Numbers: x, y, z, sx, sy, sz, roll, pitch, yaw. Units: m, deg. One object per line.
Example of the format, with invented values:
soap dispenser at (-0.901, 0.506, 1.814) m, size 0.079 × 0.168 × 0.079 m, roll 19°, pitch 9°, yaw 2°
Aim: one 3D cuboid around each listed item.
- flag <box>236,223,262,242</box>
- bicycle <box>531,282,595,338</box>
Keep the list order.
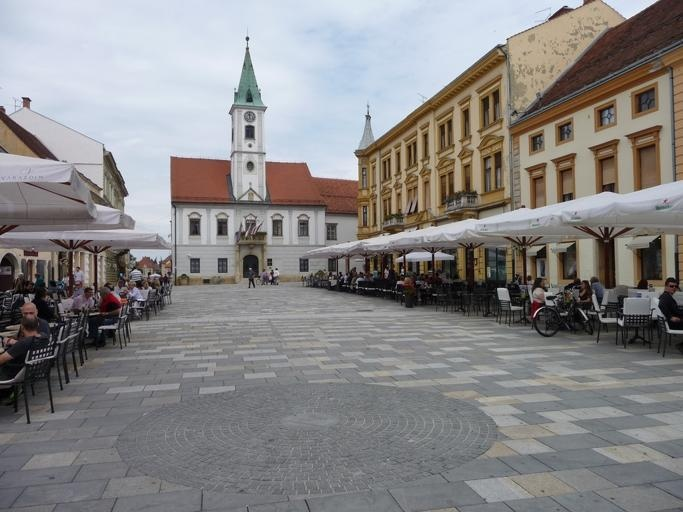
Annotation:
flag at (-10.026, -2.316, 60.004) m, size 1.782 × 2.385 × 0.941 m, roll 6°, pitch -34°, yaw -3°
bicycle at (5.838, 1.472, 14.605) m, size 2.107 × 1.242 × 1.029 m, roll -6°, pitch 2°, yaw -19°
